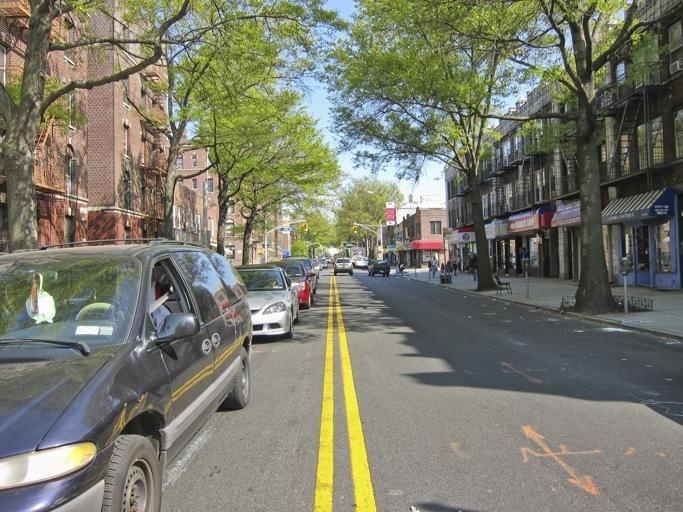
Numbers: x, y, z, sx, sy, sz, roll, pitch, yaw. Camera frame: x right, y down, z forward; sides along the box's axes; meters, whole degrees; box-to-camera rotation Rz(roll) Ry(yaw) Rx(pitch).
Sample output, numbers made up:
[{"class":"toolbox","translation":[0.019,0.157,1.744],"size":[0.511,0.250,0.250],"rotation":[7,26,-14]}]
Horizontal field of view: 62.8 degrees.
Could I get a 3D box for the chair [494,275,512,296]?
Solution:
[{"class":"chair","translation":[8.235,1.550,28.636],"size":[0.743,1.274,0.746],"rotation":[-3,1,18]}]
